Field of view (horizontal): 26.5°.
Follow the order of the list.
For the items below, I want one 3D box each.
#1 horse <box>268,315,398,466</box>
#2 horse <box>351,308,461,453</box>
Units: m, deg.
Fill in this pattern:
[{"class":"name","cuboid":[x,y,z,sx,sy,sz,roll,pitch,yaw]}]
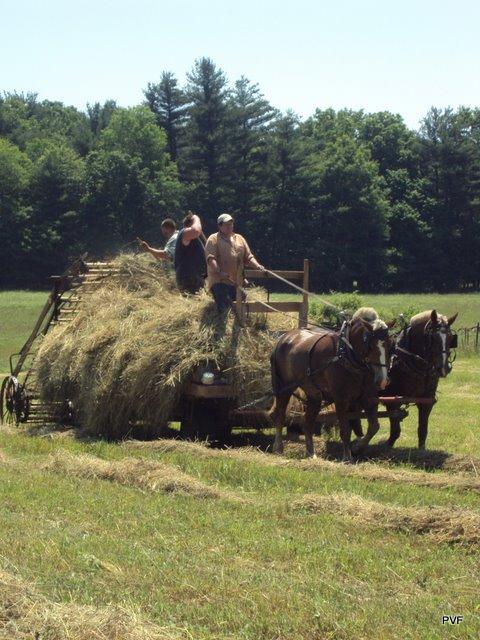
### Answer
[{"class":"horse","cuboid":[1.038,0.751,11.690,0.630,1.778,2.099,-3,0,-33]},{"class":"horse","cuboid":[2.019,0.790,12.572,0.530,1.697,2.030,6,-3,-18]}]
